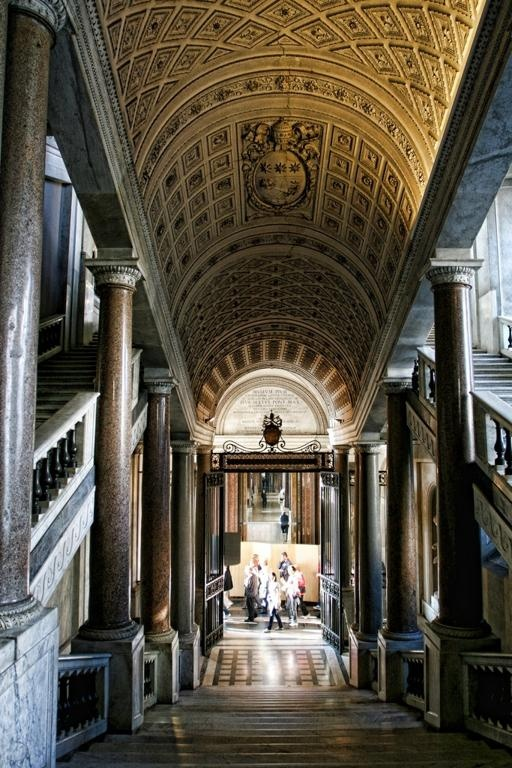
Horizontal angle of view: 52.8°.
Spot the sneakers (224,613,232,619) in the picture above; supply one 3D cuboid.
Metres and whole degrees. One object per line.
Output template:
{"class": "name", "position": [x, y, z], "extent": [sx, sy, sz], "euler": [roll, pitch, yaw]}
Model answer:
{"class": "sneakers", "position": [-0.823, 6.880, 15.275], "extent": [0.192, 0.092, 0.329], "euler": [1, -2, 5]}
